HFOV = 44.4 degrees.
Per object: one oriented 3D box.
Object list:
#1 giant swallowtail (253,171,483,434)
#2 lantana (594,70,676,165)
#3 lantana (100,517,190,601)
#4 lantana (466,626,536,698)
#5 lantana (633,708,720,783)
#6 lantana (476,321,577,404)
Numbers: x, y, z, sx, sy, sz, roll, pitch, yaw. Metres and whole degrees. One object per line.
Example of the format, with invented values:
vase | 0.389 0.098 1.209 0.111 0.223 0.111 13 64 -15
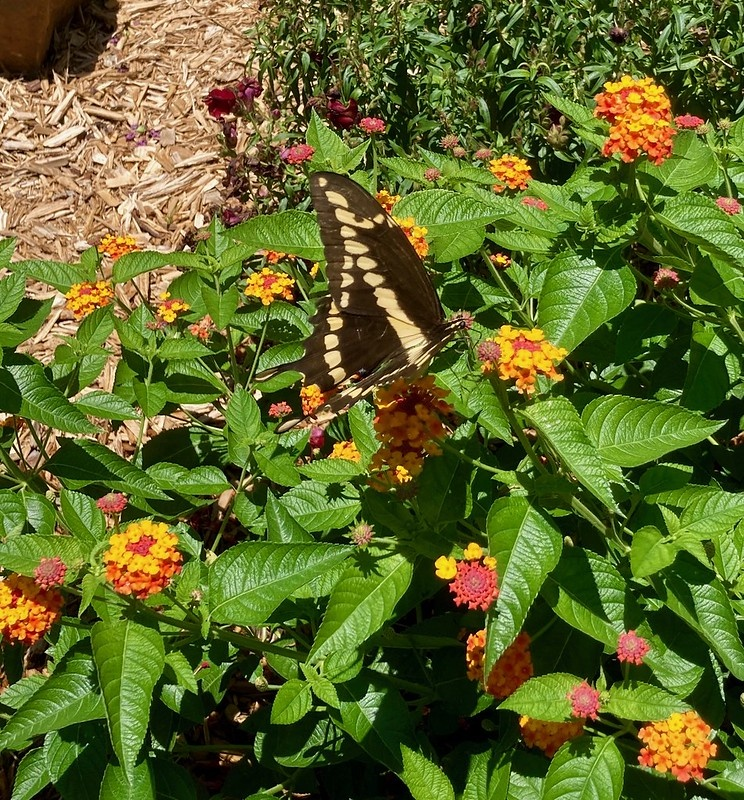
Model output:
giant swallowtail | -0.016 -0.353 2.982 0.855 0.908 0.570 -15 89 -3
lantana | 0.835 -0.878 2.944 0.370 0.109 0.266 6 73 -1
lantana | -0.669 0.467 2.639 0.270 0.090 0.216 6 58 -3
lantana | 0.391 0.778 2.787 0.276 0.070 0.219 -9 75 -2
lantana | 0.862 0.962 2.584 0.256 0.068 0.201 4 73 11
lantana | 0.411 -0.097 2.592 0.249 0.073 0.215 20 46 4
